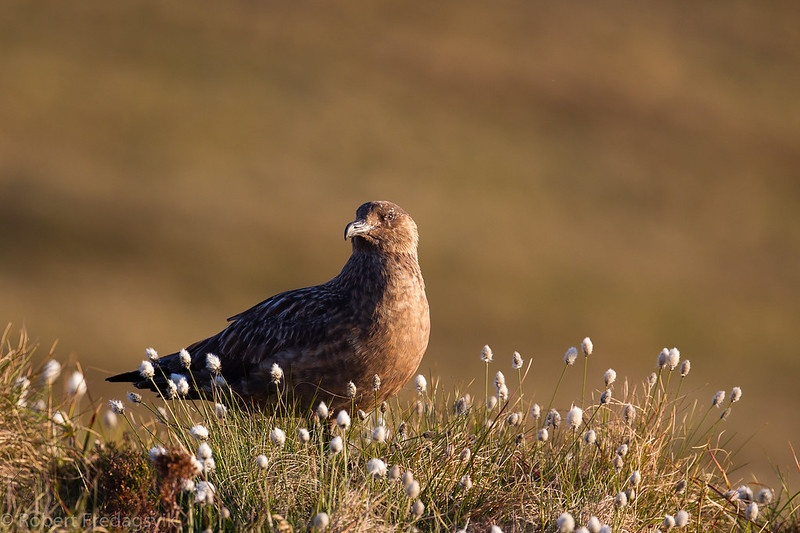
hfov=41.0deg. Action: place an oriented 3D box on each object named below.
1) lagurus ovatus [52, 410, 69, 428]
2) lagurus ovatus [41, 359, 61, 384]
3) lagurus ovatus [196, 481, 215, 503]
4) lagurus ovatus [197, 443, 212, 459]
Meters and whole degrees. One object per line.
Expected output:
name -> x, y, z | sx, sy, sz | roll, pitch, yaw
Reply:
lagurus ovatus -> -2.750, 1.235, 8.625 | 0.101, 0.064, 0.132 | -31, -80, 30
lagurus ovatus -> -2.825, 0.864, 8.641 | 0.122, 0.170, 0.233 | 19, -28, -25
lagurus ovatus -> -1.326, 1.521, 7.246 | 0.122, 0.142, 0.145 | 2, 1, -17
lagurus ovatus -> -1.328, 1.248, 7.231 | 0.103, 0.125, 0.076 | -4, -4, 6
